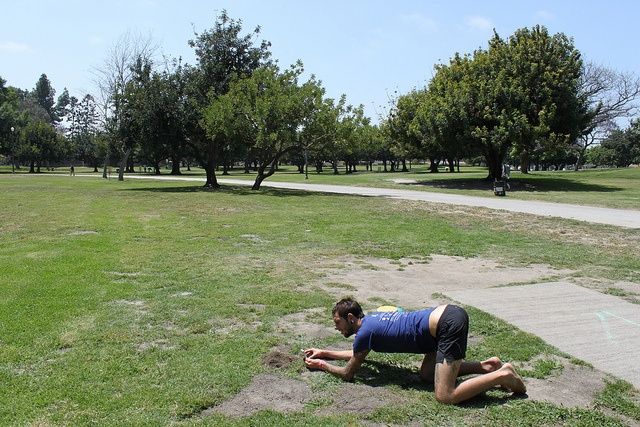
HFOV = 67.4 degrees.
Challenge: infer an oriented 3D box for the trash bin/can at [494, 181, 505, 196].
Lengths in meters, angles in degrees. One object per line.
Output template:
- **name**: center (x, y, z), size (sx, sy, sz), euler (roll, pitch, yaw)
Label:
- **trash bin/can**: center (10.794, -1.543, 29.018), size (0.804, 0.968, 0.799), euler (-2, 1, -5)
